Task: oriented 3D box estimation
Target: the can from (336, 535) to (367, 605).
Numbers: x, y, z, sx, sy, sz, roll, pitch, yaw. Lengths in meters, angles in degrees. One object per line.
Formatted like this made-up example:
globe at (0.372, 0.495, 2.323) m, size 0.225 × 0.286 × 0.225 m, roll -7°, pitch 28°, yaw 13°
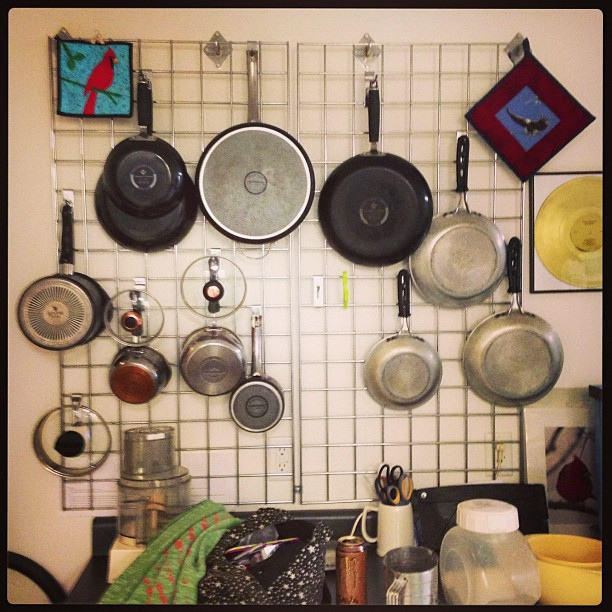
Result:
can at (0.115, 0.654, 2.398) m, size 0.081 × 0.081 × 0.146 m, roll 0°, pitch -91°, yaw 0°

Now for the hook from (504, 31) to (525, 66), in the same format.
hook at (0.580, -0.698, 2.605) m, size 0.059 × 0.080 × 0.055 m, roll -35°, pitch -64°, yaw 24°

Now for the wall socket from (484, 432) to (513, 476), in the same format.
wall socket at (0.537, 0.406, 2.682) m, size 0.096 × 0.002 × 0.145 m, roll -4°, pitch -103°, yaw 28°

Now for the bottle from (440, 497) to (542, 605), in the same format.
bottle at (0.449, 0.584, 2.333) m, size 0.223 × 0.255 × 0.286 m, roll 1°, pitch -98°, yaw -8°

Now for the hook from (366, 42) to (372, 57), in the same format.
hook at (0.174, -0.685, 2.576) m, size 0.016 × 0.011 × 0.028 m, roll 14°, pitch -78°, yaw 9°

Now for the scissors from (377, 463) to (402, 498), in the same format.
scissors at (0.228, 0.460, 2.575) m, size 0.012 × 0.044 × 0.082 m, roll 5°, pitch -91°, yaw -26°

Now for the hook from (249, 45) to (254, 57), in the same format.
hook at (-0.140, -0.673, 2.545) m, size 0.014 × 0.035 × 0.019 m, roll 7°, pitch -55°, yaw -1°

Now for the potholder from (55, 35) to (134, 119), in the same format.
potholder at (-0.564, -0.609, 2.558) m, size 0.229 × 0.030 × 0.237 m, roll 0°, pitch -87°, yaw -2°

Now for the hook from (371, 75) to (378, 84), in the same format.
hook at (0.192, -0.609, 2.584) m, size 0.019 × 0.026 × 0.009 m, roll -1°, pitch -93°, yaw 4°

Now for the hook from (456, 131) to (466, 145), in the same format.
hook at (0.436, -0.464, 2.649) m, size 0.015 × 0.025 × 0.039 m, roll -10°, pitch -103°, yaw 18°

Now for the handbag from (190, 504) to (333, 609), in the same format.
handbag at (-0.101, 0.622, 2.320) m, size 0.257 × 0.218 × 0.087 m, roll -30°, pitch -42°, yaw -31°

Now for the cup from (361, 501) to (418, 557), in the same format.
cup at (0.218, 0.586, 2.538) m, size 0.148 × 0.093 × 0.128 m, roll -1°, pitch -96°, yaw 21°

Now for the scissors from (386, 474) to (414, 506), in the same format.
scissors at (0.254, 0.481, 2.511) m, size 0.092 × 0.049 × 0.084 m, roll 0°, pitch -103°, yaw -39°

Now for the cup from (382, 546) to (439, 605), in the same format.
cup at (0.261, 0.644, 2.326) m, size 0.101 × 0.161 × 0.108 m, roll 1°, pitch -86°, yaw 14°

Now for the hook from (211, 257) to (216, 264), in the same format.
hook at (-0.246, -0.123, 2.580) m, size 0.010 × 0.008 × 0.014 m, roll -1°, pitch -55°, yaw 4°

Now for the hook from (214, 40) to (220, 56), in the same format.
hook at (-0.237, -0.692, 2.584) m, size 0.017 × 0.011 × 0.030 m, roll -1°, pitch -65°, yaw -3°

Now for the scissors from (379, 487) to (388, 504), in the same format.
scissors at (0.210, 0.490, 2.524) m, size 0.022 × 0.045 × 0.054 m, roll -1°, pitch -55°, yaw 5°

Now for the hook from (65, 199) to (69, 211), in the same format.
hook at (-0.647, -0.274, 2.588) m, size 0.014 × 0.032 × 0.015 m, roll 8°, pitch -55°, yaw -1°
